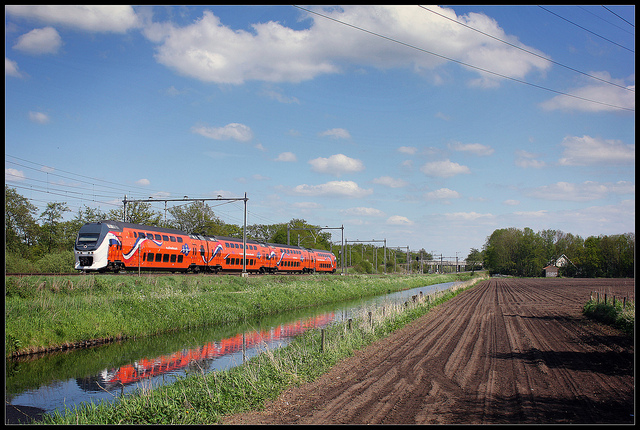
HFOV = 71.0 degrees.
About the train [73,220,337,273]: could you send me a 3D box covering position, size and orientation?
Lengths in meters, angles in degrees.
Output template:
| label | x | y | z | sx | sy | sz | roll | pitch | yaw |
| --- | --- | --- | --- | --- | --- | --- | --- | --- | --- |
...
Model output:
| label | x | y | z | sx | sy | sz | roll | pitch | yaw |
| --- | --- | --- | --- | --- | --- | --- | --- | --- | --- |
| train | -10.160 | 4.849 | 52.405 | 3.090 | 3.558 | 33.734 | -1 | -8 | 41 |
